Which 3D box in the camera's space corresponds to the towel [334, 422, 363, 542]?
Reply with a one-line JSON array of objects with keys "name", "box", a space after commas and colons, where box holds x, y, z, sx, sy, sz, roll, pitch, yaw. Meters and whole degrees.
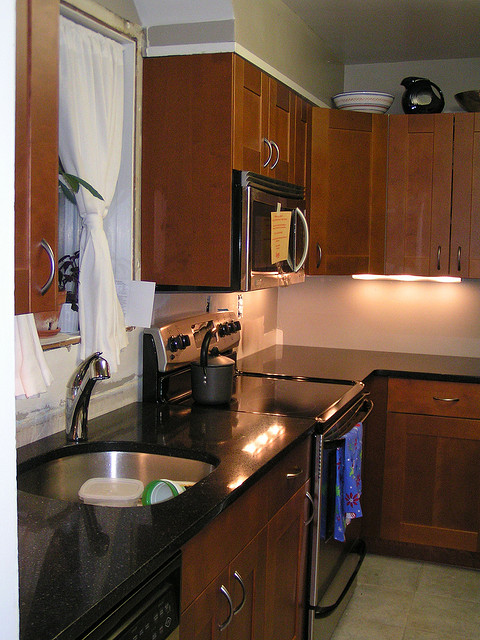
[{"name": "towel", "box": [0.405, 0.566, 1.991, 0.060, 0.338, 0.330, 1, 6, 26]}]

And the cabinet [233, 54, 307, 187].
[{"name": "cabinet", "box": [0.114, -0.744, 2.065, 0.186, 0.481, 0.335, 4, 14, 9]}]

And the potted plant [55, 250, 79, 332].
[{"name": "potted plant", "box": [-0.508, -0.085, 1.600, 0.067, 0.248, 0.188, -2, 6, -18]}]

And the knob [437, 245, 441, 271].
[{"name": "knob", "box": [1.021, -0.323, 2.769, 0.016, 0.122, 0.010, 3, 6, 27]}]

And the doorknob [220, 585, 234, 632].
[{"name": "doorknob", "box": [-0.027, 0.612, 1.153, 0.028, 0.121, 0.090, 0, 6, 1]}]

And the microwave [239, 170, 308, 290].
[{"name": "microwave", "box": [0.122, -0.356, 2.075, 0.182, 0.376, 0.421, 1, 7, 14]}]

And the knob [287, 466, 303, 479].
[{"name": "knob", "box": [0.157, 0.444, 1.564, 0.029, 0.016, 0.033, -1, 0, -22]}]

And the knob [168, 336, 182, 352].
[{"name": "knob", "box": [-0.228, 0.082, 1.898, 0.021, 0.055, 0.065, 3, 7, 30]}]

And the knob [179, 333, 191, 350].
[{"name": "knob", "box": [-0.195, 0.071, 1.940, 0.030, 0.071, 0.056, 0, 0, 14]}]

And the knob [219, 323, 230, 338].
[{"name": "knob", "box": [-0.064, 0.038, 2.247, 0.012, 0.058, 0.032, -1, -1, 38]}]

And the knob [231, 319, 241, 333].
[{"name": "knob", "box": [-0.012, 0.026, 2.381, 0.009, 0.050, 0.041, -4, -5, 31]}]

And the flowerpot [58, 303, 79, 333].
[{"name": "flowerpot", "box": [-0.508, -0.009, 1.632, 0.093, 0.089, 0.044, 4, 7, 31]}]

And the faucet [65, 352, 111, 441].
[{"name": "faucet", "box": [-0.411, 0.198, 1.424, 0.089, 0.243, 0.219, -3, 7, -30]}]

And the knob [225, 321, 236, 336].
[{"name": "knob", "box": [-0.040, 0.034, 2.328, 0.030, 0.050, 0.053, 3, 8, -17]}]

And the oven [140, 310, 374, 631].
[{"name": "oven", "box": [0.241, 0.512, 2.575, 0.915, 2.074, 0.956, 1, 7, 22]}]
